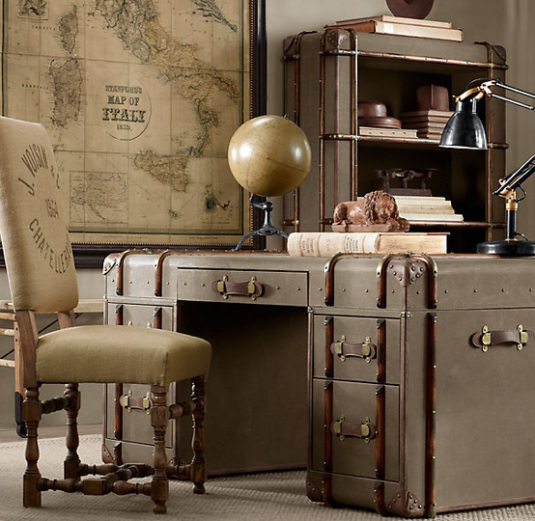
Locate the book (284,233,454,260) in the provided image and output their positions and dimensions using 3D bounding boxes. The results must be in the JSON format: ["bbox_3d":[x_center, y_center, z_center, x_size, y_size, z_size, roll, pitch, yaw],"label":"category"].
[{"bbox_3d":[0.315,-0.045,3.077,0.500,0.086,0.187,-2,8,-1],"label":"book"}]

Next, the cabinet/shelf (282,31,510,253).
[{"bbox_3d":[0.538,-0.530,4.346,1.025,1.096,0.405,-1,1,-30],"label":"cabinet/shelf"}]

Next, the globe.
[{"bbox_3d":[0.008,-0.276,3.607,0.280,0.490,0.285,17,21,38],"label":"globe"}]

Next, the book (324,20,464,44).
[{"bbox_3d":[0.627,-1.068,4.645,0.604,0.112,0.187,-5,8,-21],"label":"book"}]
